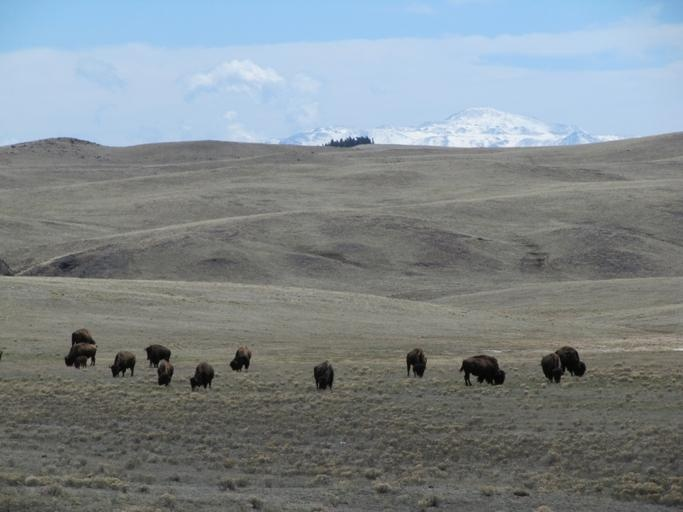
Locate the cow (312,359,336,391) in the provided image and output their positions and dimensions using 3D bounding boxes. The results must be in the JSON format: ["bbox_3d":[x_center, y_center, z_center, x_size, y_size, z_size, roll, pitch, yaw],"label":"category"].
[{"bbox_3d":[-0.971,6.252,69.831,1.097,1.439,1.617,3,14,-1],"label":"cow"}]

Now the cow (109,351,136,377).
[{"bbox_3d":[-12.093,5.805,71.318,1.277,1.401,1.419,1,14,-12],"label":"cow"}]

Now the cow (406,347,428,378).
[{"bbox_3d":[4.165,5.833,72.317,1.055,1.444,1.929,4,14,2],"label":"cow"}]

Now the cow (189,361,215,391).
[{"bbox_3d":[-7.443,6.309,69.274,1.083,1.260,1.660,16,18,40],"label":"cow"}]
